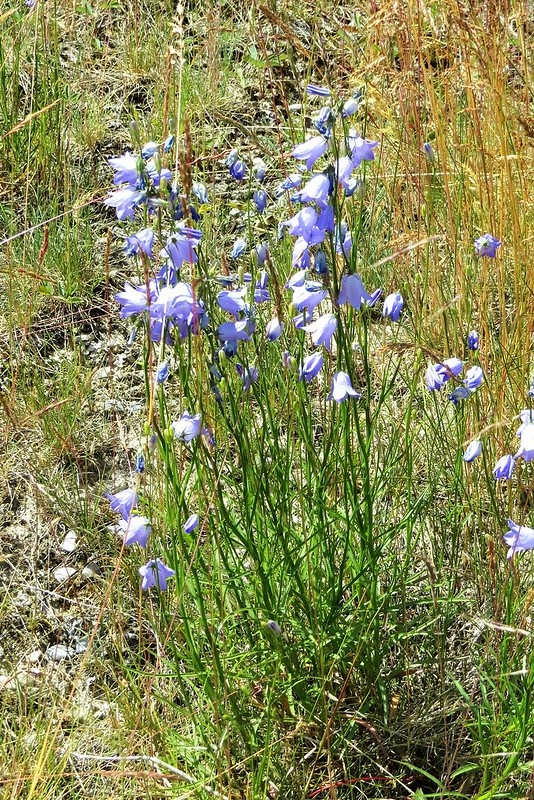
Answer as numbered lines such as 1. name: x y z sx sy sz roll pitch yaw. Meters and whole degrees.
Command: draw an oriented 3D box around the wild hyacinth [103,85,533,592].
1. wild hyacinth: 0.176 -0.120 2.696 0.776 1.600 1.038 5 -11 -25
